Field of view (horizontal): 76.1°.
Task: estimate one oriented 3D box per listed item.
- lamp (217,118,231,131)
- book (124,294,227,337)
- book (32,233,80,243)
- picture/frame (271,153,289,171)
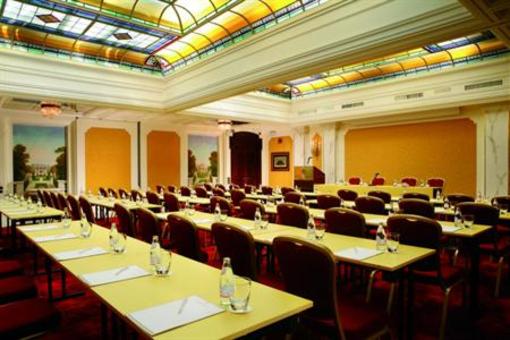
[{"bbox_3d":[-1.255,-1.776,12.912,0.447,0.281,0.453,-4,-4,38],"label":"lamp"},{"bbox_3d":[-0.629,1.141,2.588,0.700,0.086,0.301,-3,10,-25],"label":"book"},{"bbox_3d":[-2.529,0.855,4.136,0.486,0.028,0.287,-4,10,-26],"label":"book"},{"bbox_3d":[1.258,-0.417,16.079,0.085,0.756,0.943,4,-5,-42],"label":"picture/frame"}]
